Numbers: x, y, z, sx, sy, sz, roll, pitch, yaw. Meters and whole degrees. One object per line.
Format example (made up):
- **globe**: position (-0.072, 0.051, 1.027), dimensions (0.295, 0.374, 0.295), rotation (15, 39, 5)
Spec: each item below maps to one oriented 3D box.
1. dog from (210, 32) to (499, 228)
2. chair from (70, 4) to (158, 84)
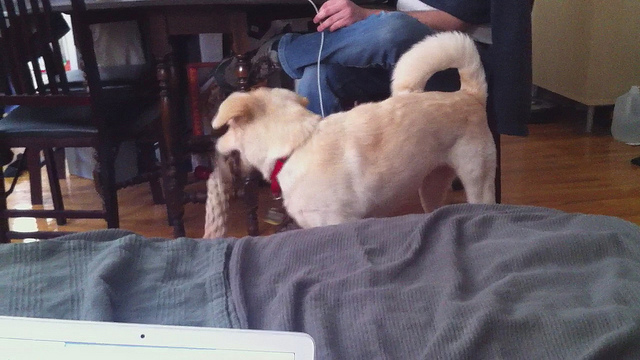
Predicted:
- **dog**: position (0.185, -0.064, 2.445), dimensions (1.214, 0.858, 0.442), rotation (-12, 14, -12)
- **chair**: position (-1.002, -0.663, 3.037), dimensions (0.329, 0.385, 0.651), rotation (-6, 14, -14)
